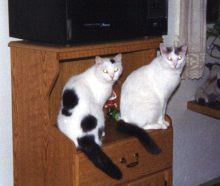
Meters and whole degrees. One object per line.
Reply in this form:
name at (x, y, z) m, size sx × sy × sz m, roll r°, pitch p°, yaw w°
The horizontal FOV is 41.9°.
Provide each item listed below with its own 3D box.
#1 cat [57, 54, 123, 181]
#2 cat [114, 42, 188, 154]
cat at (-0.072, 0.084, 1.322) m, size 0.241 × 0.584 × 0.217 m, roll 7°, pitch -8°, yaw 4°
cat at (0.177, -0.018, 1.482) m, size 0.375 × 0.541 × 0.536 m, roll 0°, pitch 13°, yaw 9°
